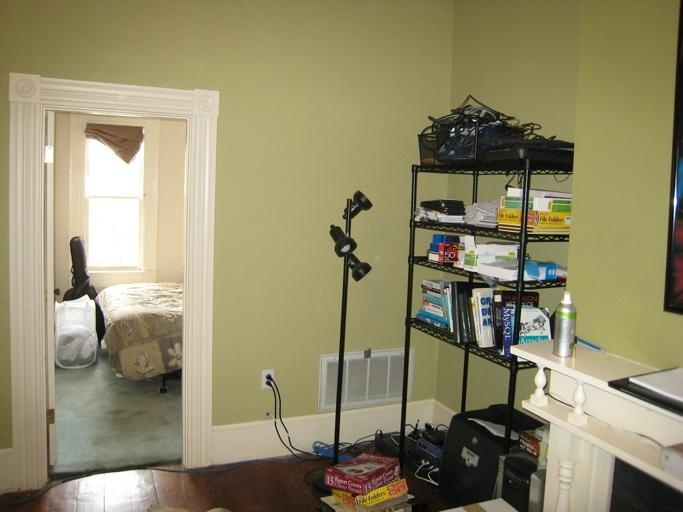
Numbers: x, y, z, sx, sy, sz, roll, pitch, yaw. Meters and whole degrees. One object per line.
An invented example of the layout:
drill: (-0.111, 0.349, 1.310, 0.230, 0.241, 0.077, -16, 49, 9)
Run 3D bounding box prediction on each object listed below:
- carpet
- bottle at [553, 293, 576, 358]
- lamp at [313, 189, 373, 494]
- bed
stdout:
carpet: (-1.713, 1.230, 4.388, 0.934, 0.069, 1.730, -5, 12, -26)
bottle: (1.044, 0.312, 2.636, 0.094, 0.287, 0.169, 5, 12, 23)
lamp: (0.010, 0.488, 3.702, 0.349, 1.823, 0.789, 1, 11, 3)
bed: (-1.728, 0.643, 4.895, 0.277, 0.995, 0.979, -1, 3, -5)
